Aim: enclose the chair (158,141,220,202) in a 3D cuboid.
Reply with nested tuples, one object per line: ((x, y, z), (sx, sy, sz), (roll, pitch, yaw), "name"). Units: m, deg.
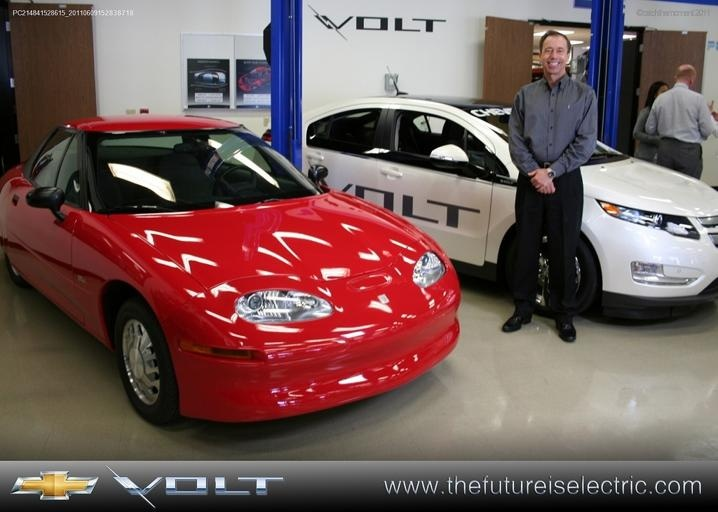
((-1.048, -0.496, 2.759), (0.273, 0.193, 0.474), (-1, 56, -19), "chair")

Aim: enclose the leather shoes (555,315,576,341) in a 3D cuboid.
((1.492, 0.511, 3.276), (0.081, 0.099, 0.237), (-4, 23, -2), "leather shoes")

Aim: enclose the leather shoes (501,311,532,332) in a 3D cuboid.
((1.185, 0.475, 3.442), (0.297, 0.128, 0.110), (-14, 30, -34), "leather shoes")

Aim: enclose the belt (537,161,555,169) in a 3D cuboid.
((1.301, -0.632, 3.136), (0.065, 0.069, 0.023), (6, 0, 33), "belt")

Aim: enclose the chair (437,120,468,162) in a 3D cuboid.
((0.806, -0.997, 3.927), (0.309, 0.322, 0.298), (0, 3, -5), "chair")

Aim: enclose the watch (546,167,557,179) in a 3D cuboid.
((1.297, -0.559, 3.055), (0.021, 0.067, 0.069), (-27, 57, 14), "watch")
